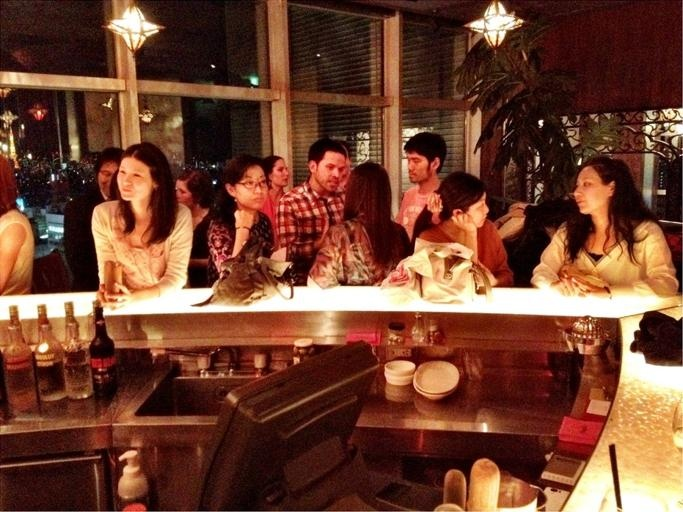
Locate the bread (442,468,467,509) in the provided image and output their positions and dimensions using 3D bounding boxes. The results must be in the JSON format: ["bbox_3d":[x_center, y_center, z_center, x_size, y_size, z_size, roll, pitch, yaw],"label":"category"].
[{"bbox_3d":[0.364,0.759,1.799,0.076,0.123,0.144,0,12,11],"label":"bread"}]

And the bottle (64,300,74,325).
[{"bbox_3d":[-1.149,0.229,2.384,0.037,0.106,0.123,-9,14,-26],"label":"bottle"}]

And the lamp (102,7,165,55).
[{"bbox_3d":[-1.345,-1.470,3.794,0.393,0.380,0.386,-7,17,-37],"label":"lamp"}]

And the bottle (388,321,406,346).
[{"bbox_3d":[0.264,0.370,2.699,0.090,0.096,0.087,2,11,13],"label":"bottle"}]

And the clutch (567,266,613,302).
[{"bbox_3d":[1.312,0.139,2.999,0.192,0.052,0.138,24,40,16],"label":"clutch"}]

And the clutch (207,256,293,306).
[{"bbox_3d":[-0.461,0.089,2.932,0.319,0.141,0.299,-3,4,-40],"label":"clutch"}]

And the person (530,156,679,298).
[{"bbox_3d":[1.513,-0.132,3.455,0.838,0.910,0.875,0,3,-26],"label":"person"}]

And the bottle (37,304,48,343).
[{"bbox_3d":[-1.230,0.268,2.325,0.040,0.168,0.114,-9,14,-28],"label":"bottle"}]

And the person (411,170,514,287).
[{"bbox_3d":[0.803,-0.169,3.901,0.702,0.801,0.554,-6,26,-10],"label":"person"}]

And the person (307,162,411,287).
[{"bbox_3d":[0.107,-0.197,3.472,0.646,0.758,0.354,-2,12,0],"label":"person"}]

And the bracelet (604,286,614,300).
[{"bbox_3d":[1.419,0.195,2.990,0.046,0.070,0.037,-3,-8,-13],"label":"bracelet"}]

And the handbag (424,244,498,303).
[{"bbox_3d":[0.634,0.047,2.904,0.338,0.121,0.269,27,29,14],"label":"handbag"}]

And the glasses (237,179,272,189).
[{"bbox_3d":[-0.587,-0.478,3.743,0.188,0.051,0.068,-9,14,-28],"label":"glasses"}]
